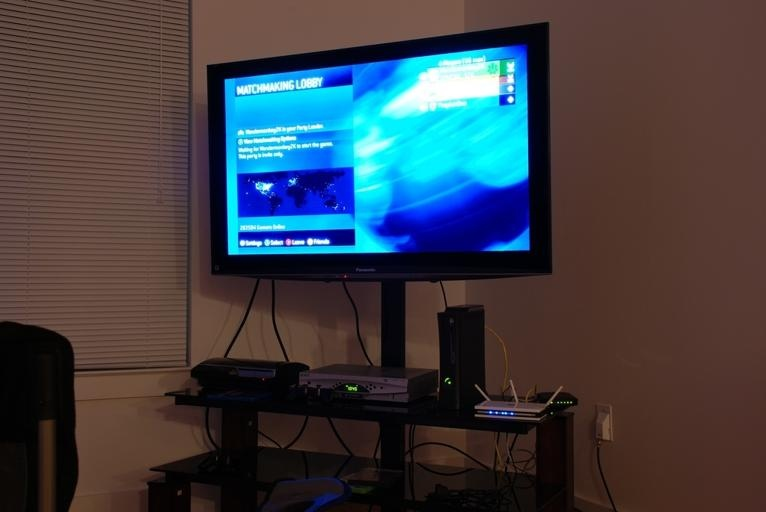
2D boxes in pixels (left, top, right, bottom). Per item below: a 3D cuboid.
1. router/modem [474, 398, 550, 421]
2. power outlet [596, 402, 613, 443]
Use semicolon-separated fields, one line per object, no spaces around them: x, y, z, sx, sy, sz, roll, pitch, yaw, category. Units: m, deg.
0.577;0.698;2.991;0.309;0.077;0.106;3;-3;12;router/modem
1.145;0.863;3.445;0.085;0.171;0.039;3;-3;23;power outlet
